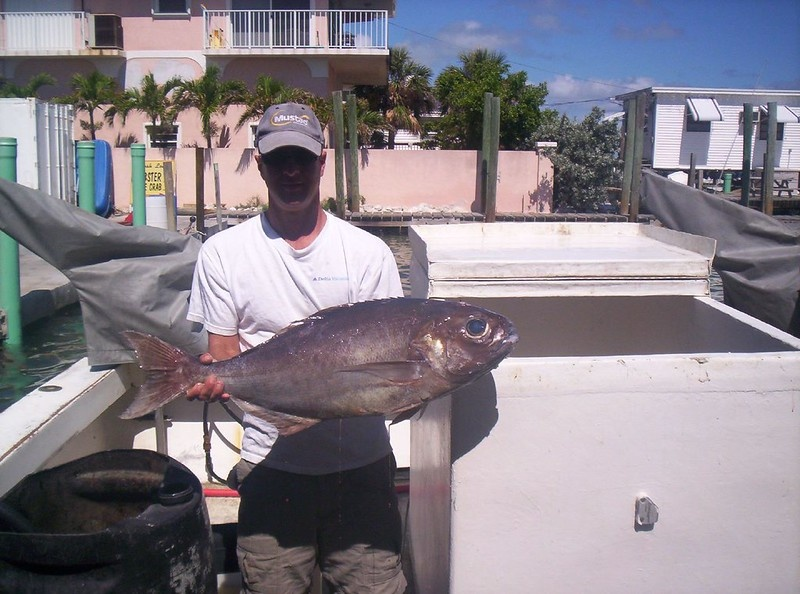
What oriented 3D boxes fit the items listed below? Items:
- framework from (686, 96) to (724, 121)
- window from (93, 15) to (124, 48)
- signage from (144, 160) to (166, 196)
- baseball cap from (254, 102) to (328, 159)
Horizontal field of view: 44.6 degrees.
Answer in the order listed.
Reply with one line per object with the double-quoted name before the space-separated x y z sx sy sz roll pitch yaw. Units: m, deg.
"framework" 13.374 -8.134 42.331 1.478 0.997 1.311 1 9 -10
"window" -9.606 -8.688 32.059 0.996 1.402 0.995 -3 19 -17
"signage" -2.958 -1.454 11.778 0.224 0.350 0.843 0 10 -15
"baseball cap" -0.663 -1.007 5.869 0.411 0.314 0.272 1 10 -9
